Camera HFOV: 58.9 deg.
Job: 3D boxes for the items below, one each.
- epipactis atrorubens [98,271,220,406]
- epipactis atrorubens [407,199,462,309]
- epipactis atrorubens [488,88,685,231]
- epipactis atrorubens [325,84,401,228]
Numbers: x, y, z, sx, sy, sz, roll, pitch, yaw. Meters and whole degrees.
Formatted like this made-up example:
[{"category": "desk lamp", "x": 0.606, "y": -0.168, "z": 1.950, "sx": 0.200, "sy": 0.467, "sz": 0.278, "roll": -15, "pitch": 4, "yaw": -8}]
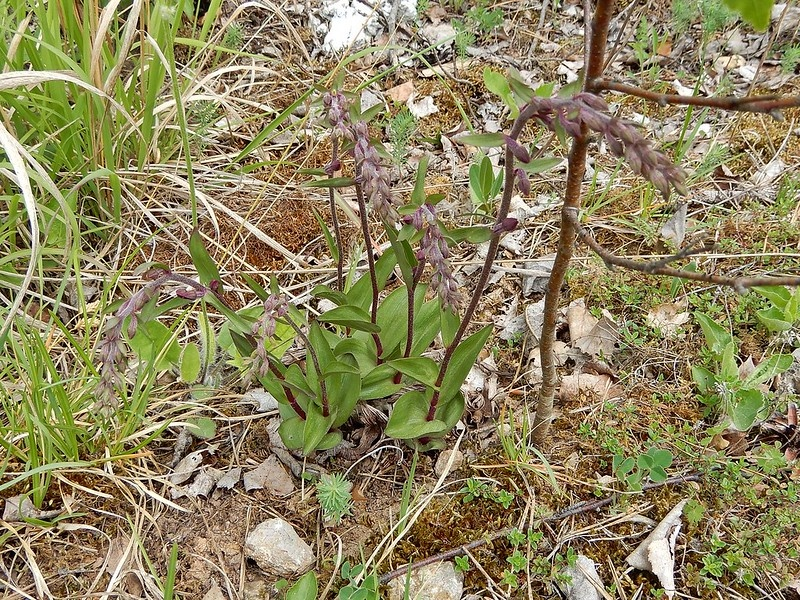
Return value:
[{"category": "epipactis atrorubens", "x": -0.956, "y": 0.128, "z": 2.712, "sx": 0.255, "sy": 0.522, "sz": 0.490, "roll": 23, "pitch": 15, "yaw": 14}, {"category": "epipactis atrorubens", "x": 0.138, "y": -0.170, "z": 2.779, "sx": 0.156, "sy": 0.438, "sz": 0.178, "roll": -14, "pitch": 2, "yaw": 11}, {"category": "epipactis atrorubens", "x": 0.628, "y": -0.547, "z": 2.424, "sx": 0.705, "sy": 0.300, "sz": 0.319, "roll": 34, "pitch": 10, "yaw": 32}, {"category": "epipactis atrorubens", "x": -0.145, "y": -0.555, "z": 2.808, "sx": 0.197, "sy": 0.620, "sz": 0.219, "roll": -15, "pitch": -10, "yaw": -26}]
